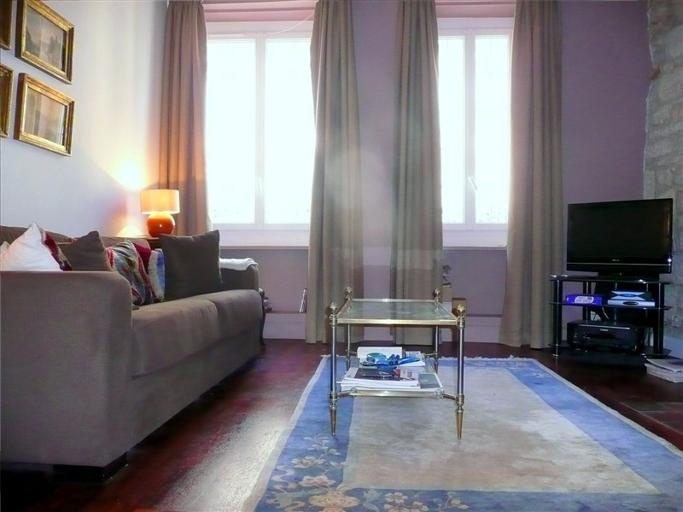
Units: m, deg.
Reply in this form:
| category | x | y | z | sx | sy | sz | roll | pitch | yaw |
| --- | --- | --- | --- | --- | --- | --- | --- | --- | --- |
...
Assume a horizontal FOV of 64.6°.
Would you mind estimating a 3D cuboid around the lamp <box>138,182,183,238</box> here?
| category | x | y | z | sx | sy | sz | roll | pitch | yaw |
| --- | --- | --- | --- | --- | --- | --- | --- | --- | --- |
| lamp | -1.601 | -0.346 | 4.746 | 0.335 | 0.416 | 0.336 | 0 | -5 | -38 |

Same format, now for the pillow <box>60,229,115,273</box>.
| category | x | y | z | sx | sy | sz | roll | pitch | yaw |
| --- | --- | --- | --- | --- | --- | --- | --- | --- | --- |
| pillow | -1.316 | -0.003 | 2.785 | 0.205 | 0.222 | 0.084 | 0 | -2 | -21 |

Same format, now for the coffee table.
| category | x | y | z | sx | sy | sz | roll | pitch | yaw |
| --- | --- | --- | --- | --- | --- | --- | --- | --- | --- |
| coffee table | 0.288 | 0.550 | 3.045 | 0.754 | 0.628 | 0.679 | 0 | 7 | -4 |

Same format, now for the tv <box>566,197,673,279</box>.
| category | x | y | z | sx | sy | sz | roll | pitch | yaw |
| --- | --- | --- | --- | --- | --- | --- | --- | --- | --- |
| tv | 2.324 | -0.142 | 4.582 | 1.024 | 0.886 | 0.538 | 0 | -1 | 35 |

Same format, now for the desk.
| category | x | y | z | sx | sy | sz | roll | pitch | yaw |
| --- | --- | --- | --- | --- | --- | --- | --- | --- | --- |
| desk | 2.197 | 0.452 | 4.311 | 0.468 | 0.566 | 0.768 | 16 | -11 | -42 |
